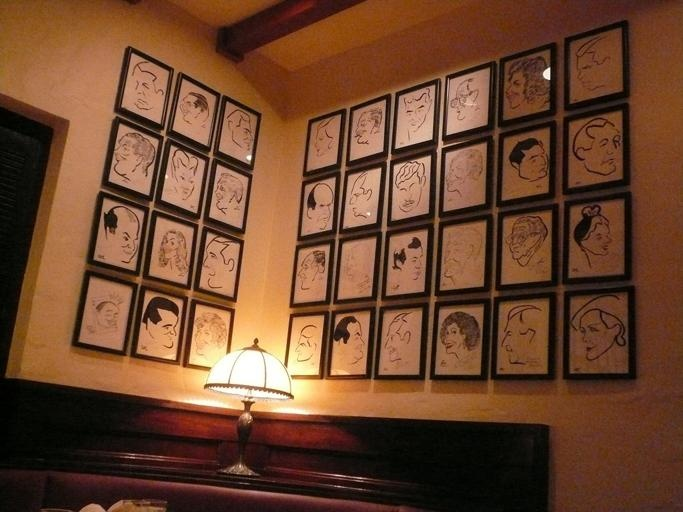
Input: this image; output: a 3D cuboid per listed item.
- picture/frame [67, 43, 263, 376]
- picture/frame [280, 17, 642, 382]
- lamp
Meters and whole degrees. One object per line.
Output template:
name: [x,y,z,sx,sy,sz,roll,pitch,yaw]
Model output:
picture/frame: [-1.124,-0.314,3.499,1.098,2.070,0.127,18,-21,-39]
picture/frame: [0.764,-0.316,3.099,2.316,2.030,0.057,-12,-19,40]
lamp: [-0.569,0.929,3.164,0.507,0.832,0.345,19,-22,-41]
